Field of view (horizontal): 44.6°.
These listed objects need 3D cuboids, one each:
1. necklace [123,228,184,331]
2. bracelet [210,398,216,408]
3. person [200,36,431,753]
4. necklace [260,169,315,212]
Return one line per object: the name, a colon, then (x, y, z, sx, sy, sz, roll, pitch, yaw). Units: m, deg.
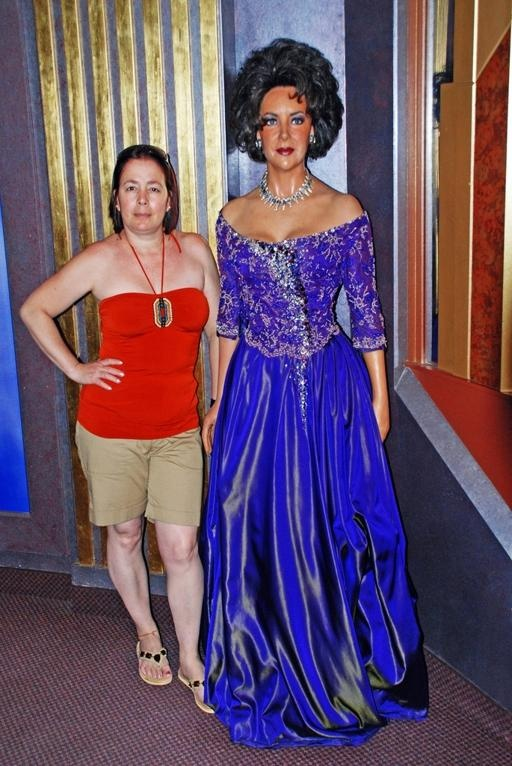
necklace: (-0.274, -0.284, 1.646, 0.147, 0.013, 0.325, -8, 64, -18)
bracelet: (-0.132, 0.055, 1.887, 0.025, 0.028, 0.028, 0, -4, -4)
person: (0.139, 0.003, 1.593, 0.469, 1.608, 0.431, -1, 14, -1)
necklace: (0.073, -0.468, 1.527, 0.130, 0.092, 0.071, -2, 7, 1)
